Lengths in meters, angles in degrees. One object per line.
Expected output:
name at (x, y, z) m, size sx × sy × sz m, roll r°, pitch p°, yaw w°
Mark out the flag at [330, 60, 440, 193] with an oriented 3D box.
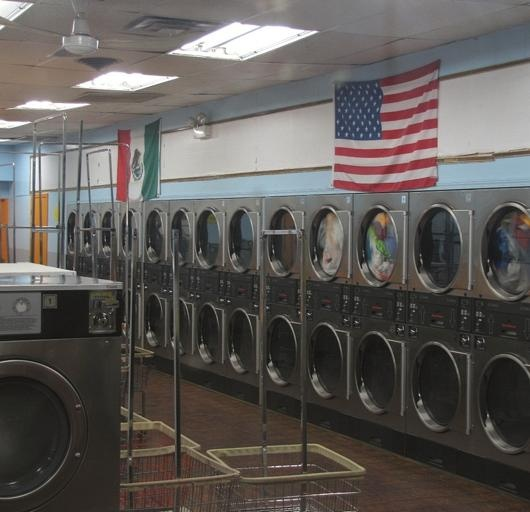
flag at (1.226, -1.280, 4.655) m, size 0.087 × 1.297 × 1.292 m, roll 2°, pitch -2°, yaw -41°
